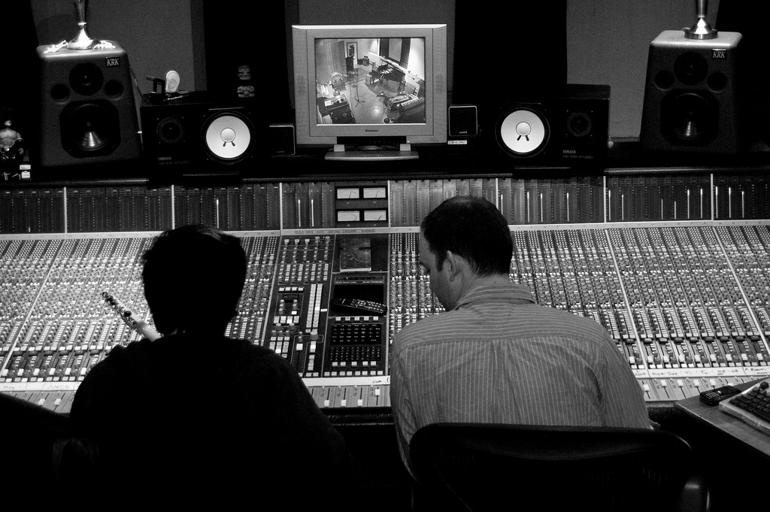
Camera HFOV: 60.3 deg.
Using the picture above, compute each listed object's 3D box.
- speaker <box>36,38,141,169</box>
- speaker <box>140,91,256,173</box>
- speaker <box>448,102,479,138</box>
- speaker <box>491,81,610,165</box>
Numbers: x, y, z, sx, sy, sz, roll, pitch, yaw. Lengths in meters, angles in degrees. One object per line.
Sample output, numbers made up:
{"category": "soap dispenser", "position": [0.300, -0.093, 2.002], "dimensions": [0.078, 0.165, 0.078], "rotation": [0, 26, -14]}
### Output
{"category": "speaker", "position": [-1.937, -1.112, 4.763], "dimensions": [0.822, 0.958, 0.780], "rotation": [-5, 18, -20]}
{"category": "speaker", "position": [-1.252, -0.804, 4.482], "dimensions": [0.877, 0.547, 0.520], "rotation": [-1, 13, -7]}
{"category": "speaker", "position": [0.533, -0.916, 4.587], "dimensions": [0.270, 0.278, 0.204], "rotation": [-3, 10, -3]}
{"category": "speaker", "position": [1.149, -0.849, 4.484], "dimensions": [0.925, 0.583, 0.479], "rotation": [-1, 6, 7]}
